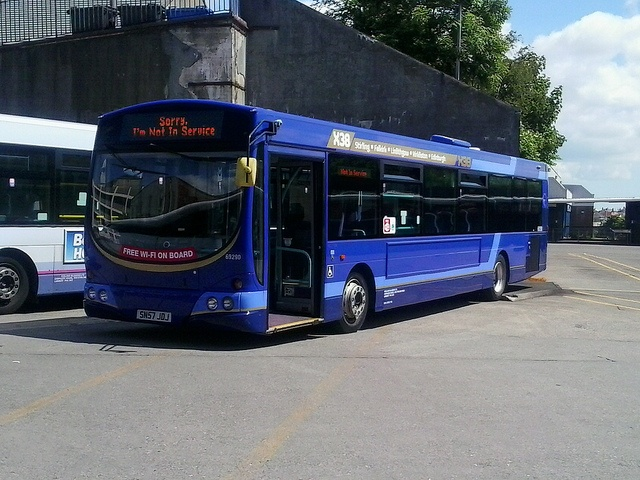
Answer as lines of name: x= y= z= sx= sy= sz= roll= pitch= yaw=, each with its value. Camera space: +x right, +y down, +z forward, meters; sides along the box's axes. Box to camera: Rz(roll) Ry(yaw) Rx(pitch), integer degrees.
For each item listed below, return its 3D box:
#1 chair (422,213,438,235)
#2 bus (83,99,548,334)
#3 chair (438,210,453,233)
chair: x=2.463 y=-0.361 z=12.905 sx=0.368 sy=0.568 sz=0.425 roll=2 pitch=2 yaw=-34
bus: x=1.077 y=-0.238 z=13.354 sx=3.440 sy=3.796 sz=11.865 roll=0 pitch=-1 yaw=37
chair: x=2.958 y=-0.427 z=13.542 sx=0.392 sy=0.648 sz=0.501 roll=1 pitch=-5 yaw=0
